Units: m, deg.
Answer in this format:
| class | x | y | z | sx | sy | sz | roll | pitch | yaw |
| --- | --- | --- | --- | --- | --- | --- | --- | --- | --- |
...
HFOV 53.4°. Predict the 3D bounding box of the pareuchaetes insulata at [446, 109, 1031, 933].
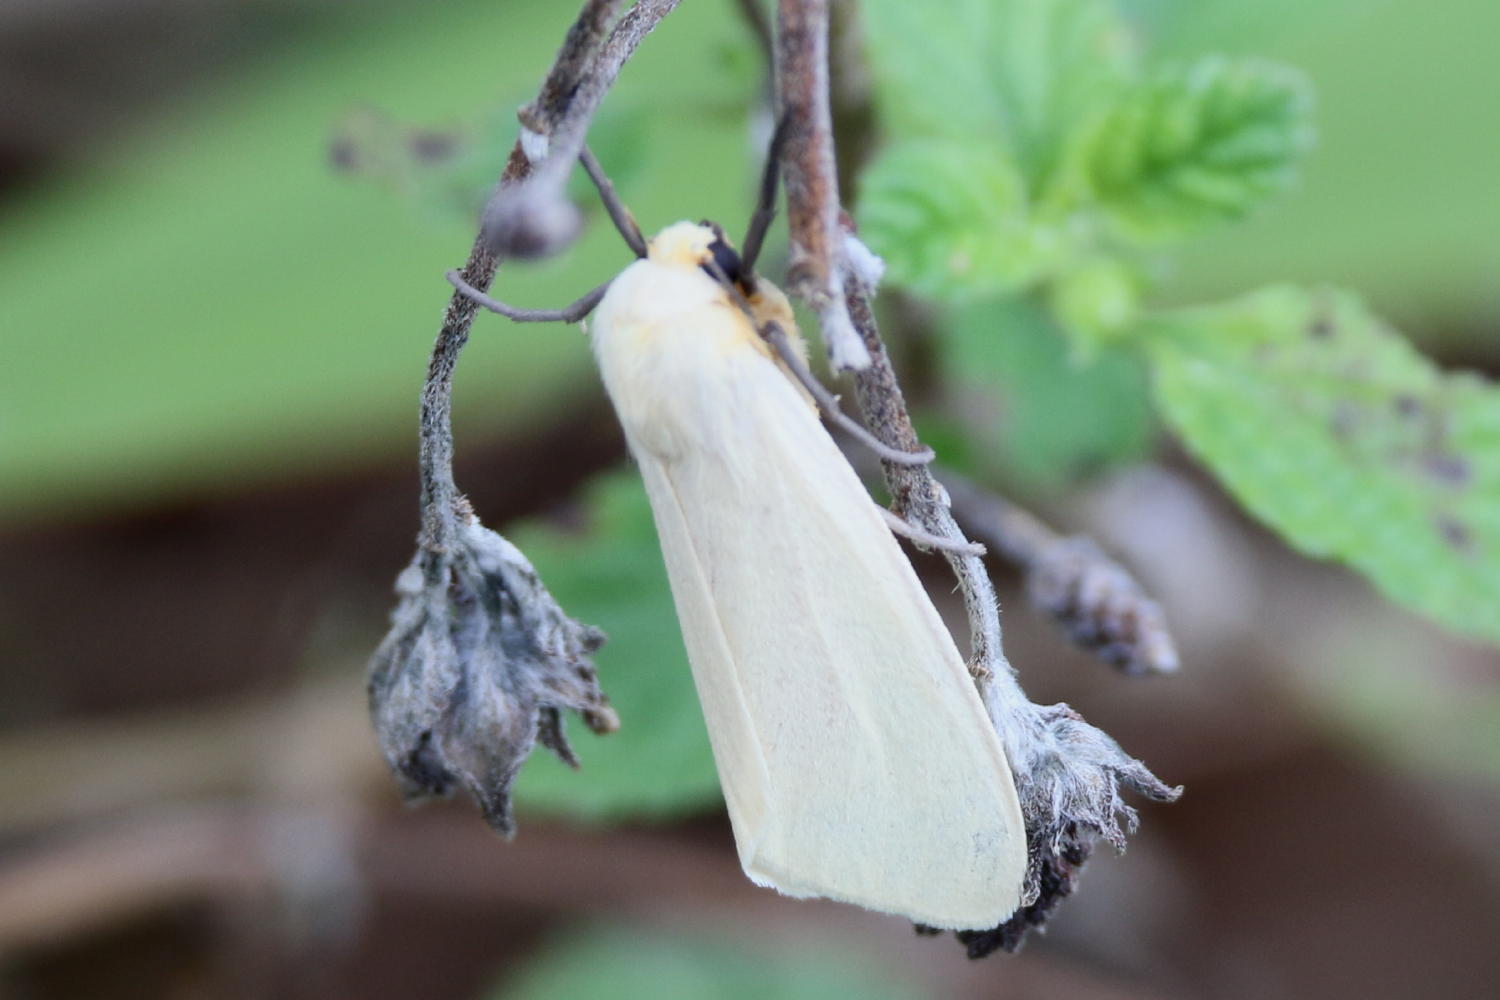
| class | x | y | z | sx | sy | sz | roll | pitch | yaw |
| --- | --- | --- | --- | --- | --- | --- | --- | --- | --- |
| pareuchaetes insulata | 0.026 | -0.009 | 0.798 | 0.242 | 0.447 | 0.116 | -13 | 9 | 31 |
